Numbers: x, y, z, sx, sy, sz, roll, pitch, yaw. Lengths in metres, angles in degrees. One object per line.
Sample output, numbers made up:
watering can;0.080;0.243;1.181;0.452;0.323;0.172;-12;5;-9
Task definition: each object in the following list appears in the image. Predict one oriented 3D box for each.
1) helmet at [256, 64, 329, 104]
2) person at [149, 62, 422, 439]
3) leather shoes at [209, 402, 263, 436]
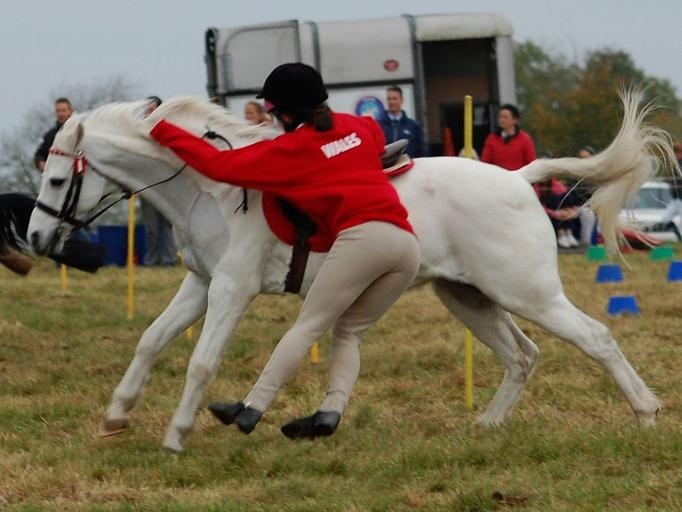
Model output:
helmet;-0.336;-1.199;8.183;0.369;0.201;0.288;3;12;5
person;-0.227;-0.056;8.242;1.543;2.555;0.905;-3;13;-3
leather shoes;-0.749;1.144;8.177;0.364;0.258;0.172;1;14;13
